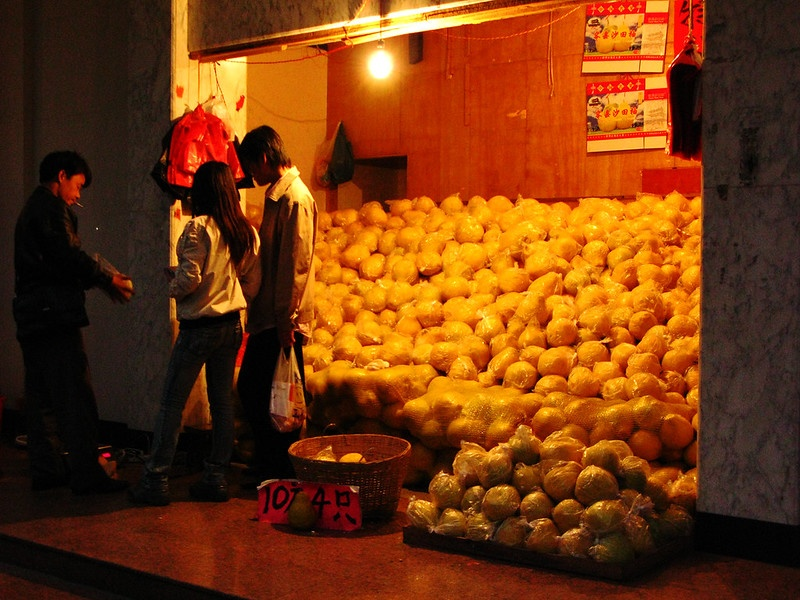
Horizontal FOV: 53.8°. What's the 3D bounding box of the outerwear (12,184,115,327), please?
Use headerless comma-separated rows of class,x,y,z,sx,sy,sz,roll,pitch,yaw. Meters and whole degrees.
outerwear,-2.349,-0.238,5.702,0.749,1.171,1.218,-5,7,-32

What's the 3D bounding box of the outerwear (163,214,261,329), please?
outerwear,-1.196,-0.212,5.182,0.625,0.664,0.226,-5,5,-36
